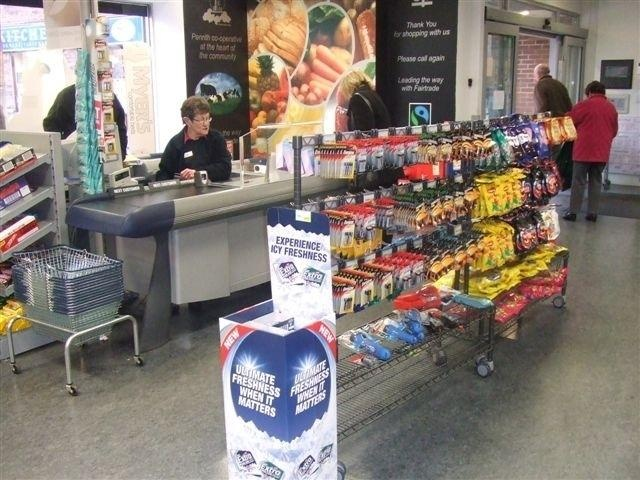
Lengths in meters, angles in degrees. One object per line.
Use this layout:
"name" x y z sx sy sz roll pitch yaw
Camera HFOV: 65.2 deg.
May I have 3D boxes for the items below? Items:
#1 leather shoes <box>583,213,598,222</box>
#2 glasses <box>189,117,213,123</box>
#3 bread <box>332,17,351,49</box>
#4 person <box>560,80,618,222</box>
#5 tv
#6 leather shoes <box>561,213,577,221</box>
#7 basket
"leather shoes" 4.066 -0.343 7.502 0.083 0.082 0.194 3 14 16
"glasses" -1.078 -1.054 4.396 0.130 0.038 0.129 2 12 36
"bread" 0.321 -2.899 7.041 0.203 0.366 0.274 8 5 29
"person" 3.968 -1.305 7.391 0.562 1.992 0.684 10 19 36
"tv" -2.112 -0.702 4.371 0.412 0.533 0.589 2 5 -5
"leather shoes" 3.757 -0.345 7.550 0.083 0.089 0.227 -2 9 -3
"basket" -1.808 0.369 3.604 0.716 0.512 0.475 8 18 31
